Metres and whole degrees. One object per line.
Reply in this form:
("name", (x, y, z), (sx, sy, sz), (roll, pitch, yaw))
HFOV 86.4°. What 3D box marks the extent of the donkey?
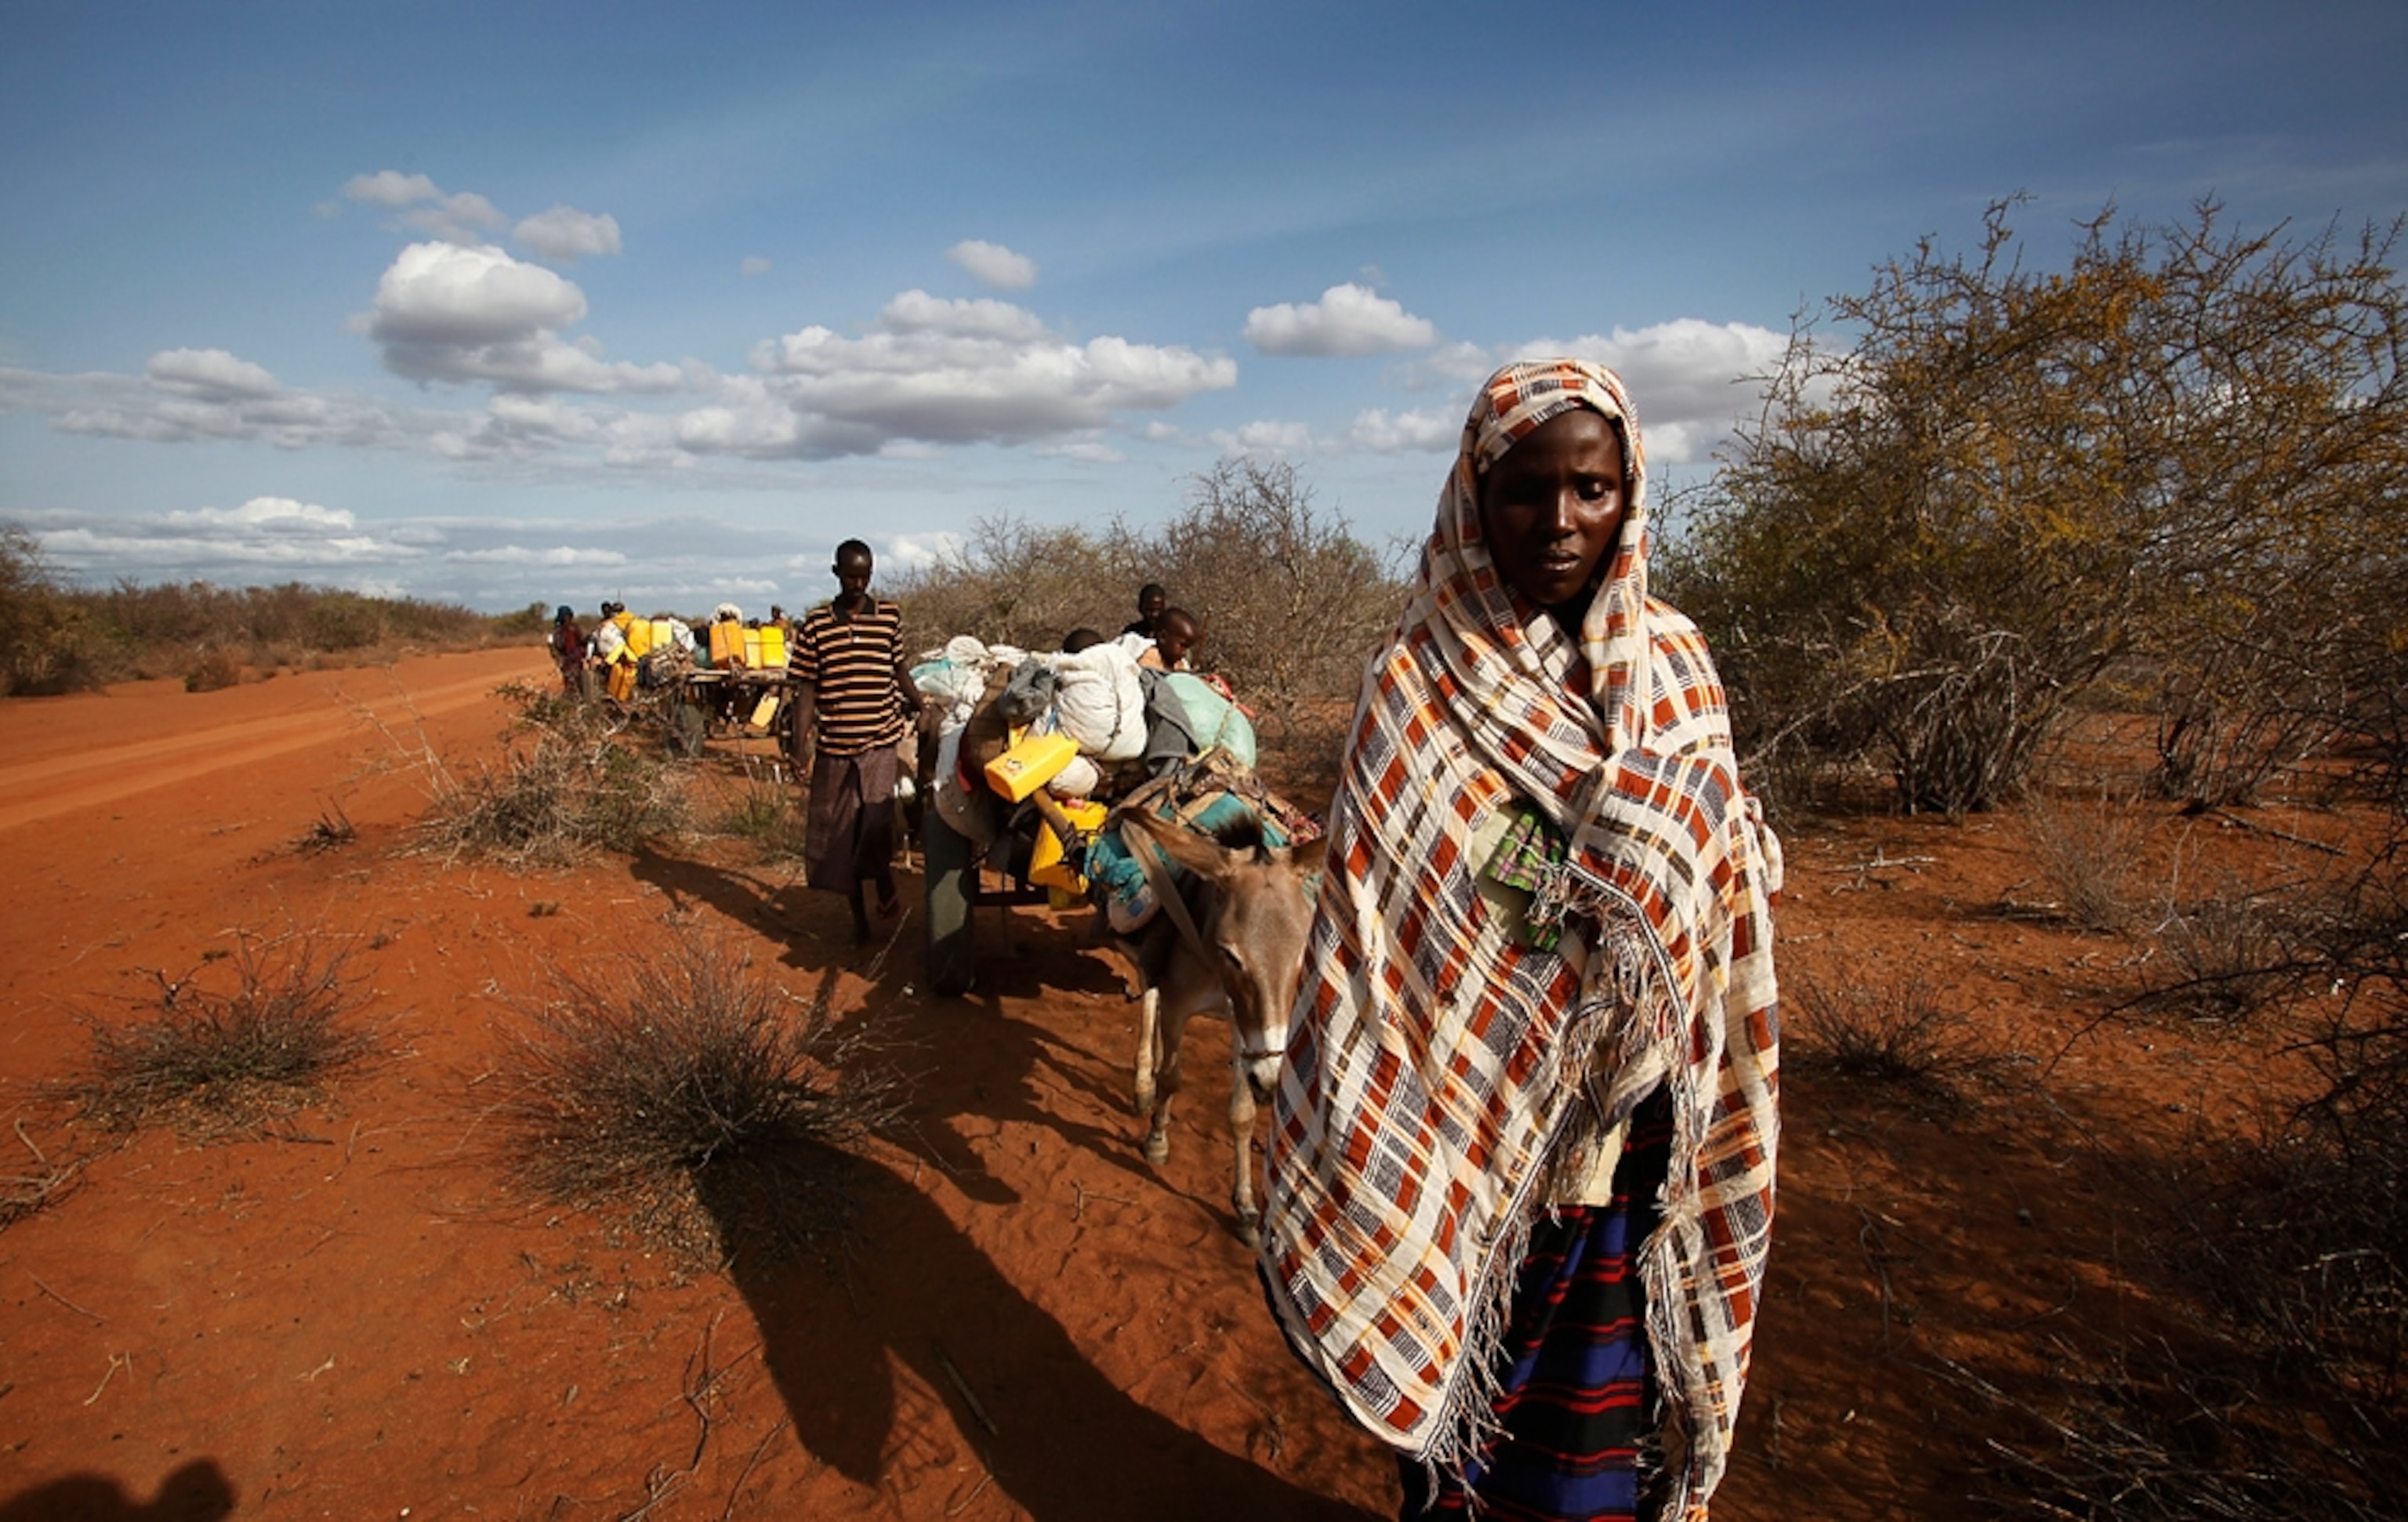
("donkey", (0.105, 1.712, 9.519), (1.294, 3.634, 4.810), (2, 8, -6))
